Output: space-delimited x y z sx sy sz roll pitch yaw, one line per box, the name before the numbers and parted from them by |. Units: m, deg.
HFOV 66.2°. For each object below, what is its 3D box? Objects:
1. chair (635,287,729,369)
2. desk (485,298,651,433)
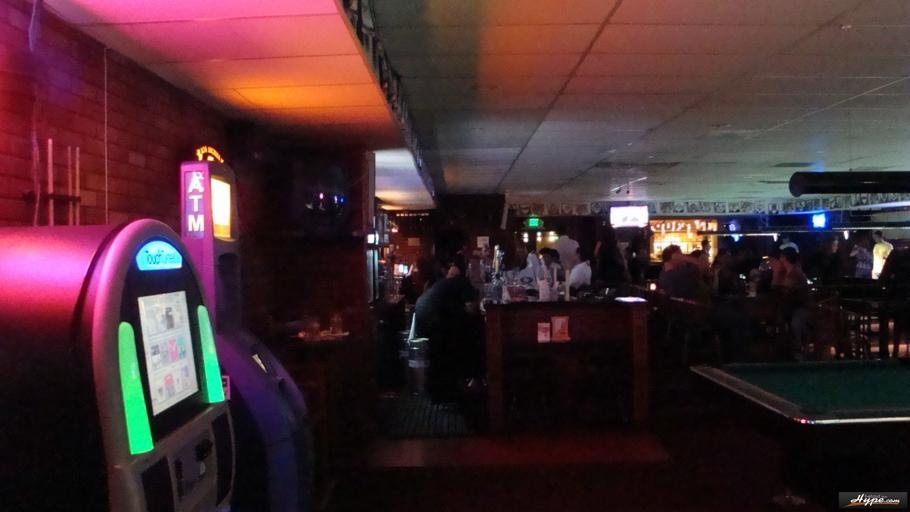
chair | 3.293 1.046 9.933 0.964 0.555 1.527 -5 3 -43
desk | 1.269 1.152 8.476 2.624 1.691 1.399 -1 -5 -2
